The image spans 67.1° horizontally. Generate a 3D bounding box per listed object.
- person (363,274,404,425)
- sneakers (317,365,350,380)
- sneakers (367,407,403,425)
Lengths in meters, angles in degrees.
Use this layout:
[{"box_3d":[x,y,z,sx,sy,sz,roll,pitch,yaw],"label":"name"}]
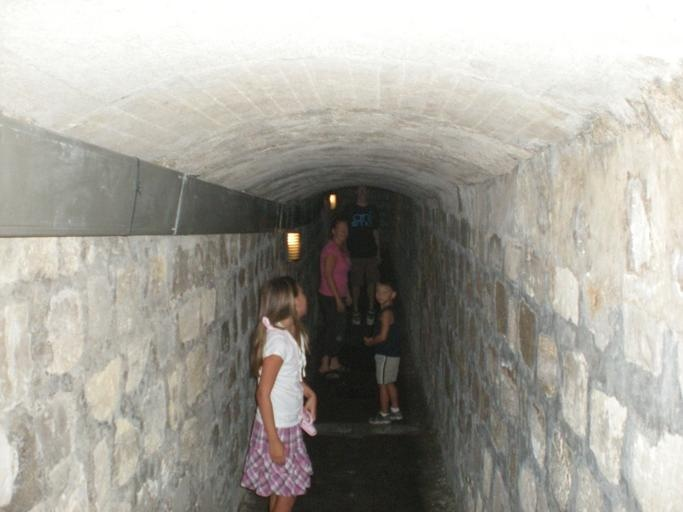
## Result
[{"box_3d":[0.403,0.881,4.600,0.315,1.263,0.413,3,8,16],"label":"person"},{"box_3d":[-0.063,1.321,5.766,0.303,0.090,0.125,-5,21,-7],"label":"sneakers"},{"box_3d":[0.413,1.448,4.650,0.275,0.131,0.125,1,-3,-12],"label":"sneakers"}]
